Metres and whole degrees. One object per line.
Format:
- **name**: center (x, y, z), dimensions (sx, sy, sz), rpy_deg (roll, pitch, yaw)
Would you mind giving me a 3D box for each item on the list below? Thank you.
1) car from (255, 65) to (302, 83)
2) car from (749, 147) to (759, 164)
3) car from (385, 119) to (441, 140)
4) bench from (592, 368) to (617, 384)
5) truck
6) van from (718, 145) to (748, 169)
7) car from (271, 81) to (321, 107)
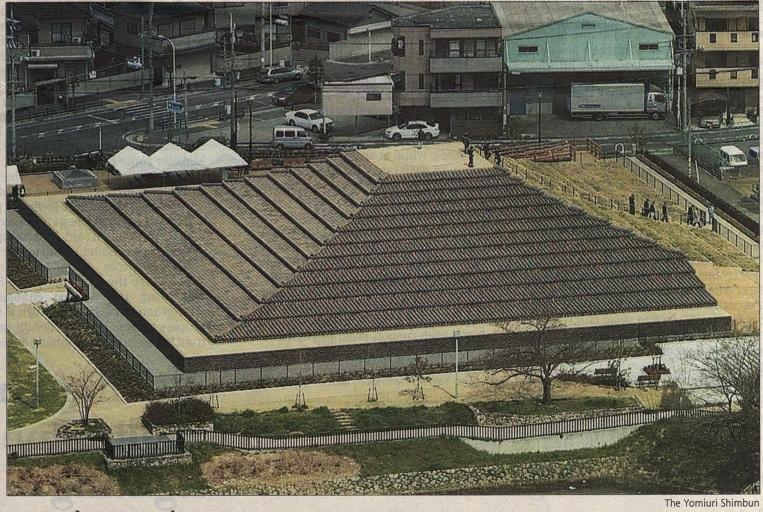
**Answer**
- **car**: center (-11.444, -21.353, 229.469), dimensions (5.034, 1.803, 2.239), rpy_deg (-13, 16, -31)
- **car**: center (39.828, -11.081, 213.816), dimensions (0.988, 1.480, 1.878), rpy_deg (-4, 14, 6)
- **car**: center (3.470, -13.817, 213.558), dimensions (5.198, 1.627, 2.299), rpy_deg (1, 13, -7)
- **bench**: center (20.348, 10.745, 180.373), dimensions (1.581, 0.969, 1.367), rpy_deg (4, 35, 7)
- **truck**: center (26.124, -18.059, 223.897), dimensions (13.320, 4.990, 4.009), rpy_deg (-1, 20, -1)
- **van**: center (37.298, -10.950, 213.512), dimensions (1.861, 1.593, 2.931), rpy_deg (-6, 20, -8)
- **car**: center (-9.452, -18.546, 223.666), dimensions (4.991, 2.197, 2.643), rpy_deg (-3, 15, -16)
